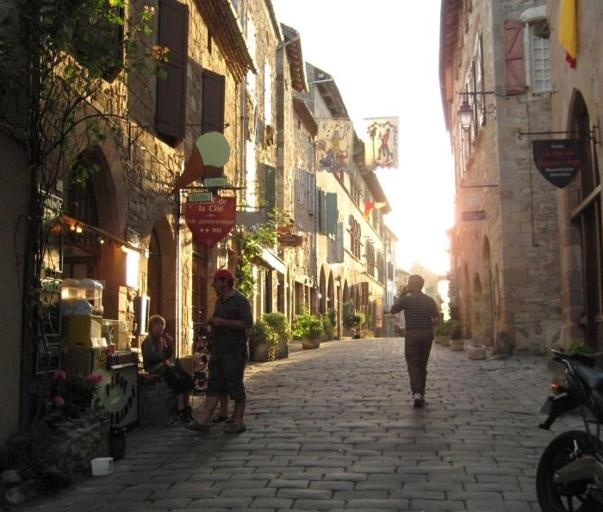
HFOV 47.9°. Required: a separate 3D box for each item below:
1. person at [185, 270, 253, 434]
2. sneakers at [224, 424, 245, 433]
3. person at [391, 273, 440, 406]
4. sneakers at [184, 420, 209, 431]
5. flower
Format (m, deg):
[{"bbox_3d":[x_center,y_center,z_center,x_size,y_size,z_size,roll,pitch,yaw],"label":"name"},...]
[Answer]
[{"bbox_3d":[-0.917,1.124,8.093,0.670,1.937,0.740,-2,-6,-7],"label":"person"},{"bbox_3d":[-0.762,2.004,7.851,0.207,0.110,0.097,6,-8,-14],"label":"sneakers"},{"bbox_3d":[1.677,1.187,9.774,0.674,1.860,1.321,-4,-7,11],"label":"person"},{"bbox_3d":[-1.177,1.921,7.622,0.231,0.119,0.098,15,-6,-6],"label":"sneakers"},{"bbox_3d":[-2.311,1.450,6.810,0.461,0.475,0.319,8,-26,-34],"label":"flower"}]
